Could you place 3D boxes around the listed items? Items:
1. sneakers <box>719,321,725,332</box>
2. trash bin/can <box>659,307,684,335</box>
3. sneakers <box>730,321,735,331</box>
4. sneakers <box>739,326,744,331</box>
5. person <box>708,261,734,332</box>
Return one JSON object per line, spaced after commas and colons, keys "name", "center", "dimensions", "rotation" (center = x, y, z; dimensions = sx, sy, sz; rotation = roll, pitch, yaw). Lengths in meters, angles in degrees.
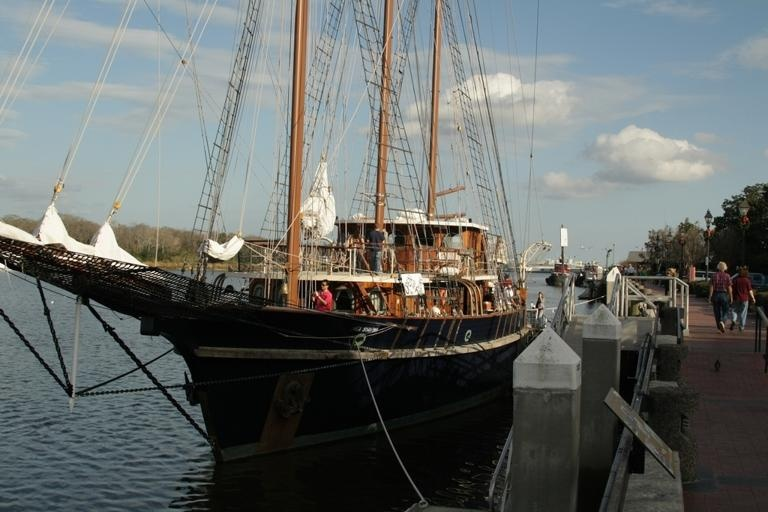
{"name": "sneakers", "center": [9.542, 1.981, 22.368], "dimensions": [0.242, 0.322, 0.116], "rotation": [-7, 8, -42]}
{"name": "trash bin/can", "center": [6.739, 1.500, 18.608], "dimensions": [0.576, 0.946, 0.584], "rotation": [-2, -7, 10]}
{"name": "sneakers", "center": [10.159, 2.019, 23.104], "dimensions": [0.115, 0.183, 0.404], "rotation": [-1, -23, 17]}
{"name": "sneakers", "center": [10.361, 2.079, 22.956], "dimensions": [0.122, 0.102, 0.191], "rotation": [0, -6, 17]}
{"name": "person", "center": [9.642, 1.121, 22.635], "dimensions": [0.534, 2.049, 1.420], "rotation": [1, 7, 23]}
